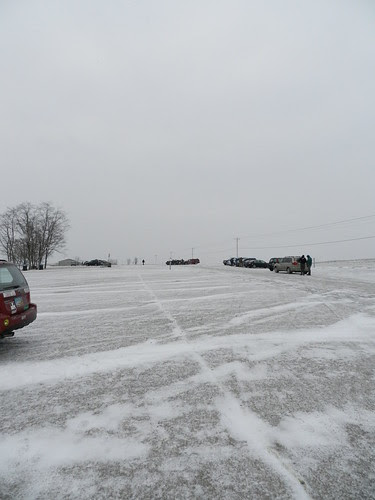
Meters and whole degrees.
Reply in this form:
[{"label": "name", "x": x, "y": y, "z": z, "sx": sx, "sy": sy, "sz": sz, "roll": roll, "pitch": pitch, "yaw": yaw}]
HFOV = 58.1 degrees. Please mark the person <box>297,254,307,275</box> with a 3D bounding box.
[{"label": "person", "x": 9.650, "y": 1.280, "z": 28.100, "sx": 0.633, "sy": 1.224, "sz": 1.738, "roll": 0, "pitch": -1, "yaw": 18}]
